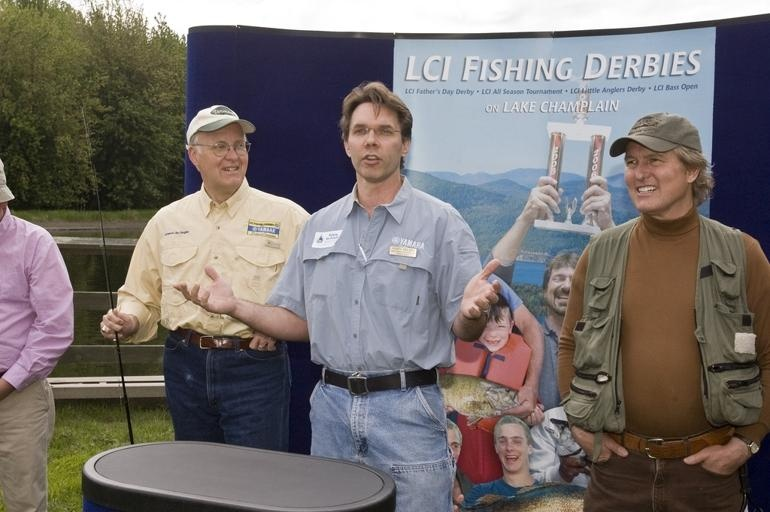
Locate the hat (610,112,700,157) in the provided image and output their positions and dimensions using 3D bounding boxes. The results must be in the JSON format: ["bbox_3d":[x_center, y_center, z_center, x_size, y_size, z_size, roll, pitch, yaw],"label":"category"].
[{"bbox_3d":[1.583,-0.655,4.385,0.373,0.205,0.273,8,0,-12],"label":"hat"}]

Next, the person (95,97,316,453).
[{"bbox_3d":[-1.173,0.601,5.099,1.483,3.131,0.966,-1,2,-5],"label":"person"}]

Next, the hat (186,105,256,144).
[{"bbox_3d":[-1.191,-0.876,5.174,0.282,0.196,0.366,-6,-18,-45],"label":"hat"}]

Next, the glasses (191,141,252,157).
[{"bbox_3d":[-1.063,-0.729,5.072,0.210,0.059,0.164,-4,-1,43],"label":"glasses"}]
